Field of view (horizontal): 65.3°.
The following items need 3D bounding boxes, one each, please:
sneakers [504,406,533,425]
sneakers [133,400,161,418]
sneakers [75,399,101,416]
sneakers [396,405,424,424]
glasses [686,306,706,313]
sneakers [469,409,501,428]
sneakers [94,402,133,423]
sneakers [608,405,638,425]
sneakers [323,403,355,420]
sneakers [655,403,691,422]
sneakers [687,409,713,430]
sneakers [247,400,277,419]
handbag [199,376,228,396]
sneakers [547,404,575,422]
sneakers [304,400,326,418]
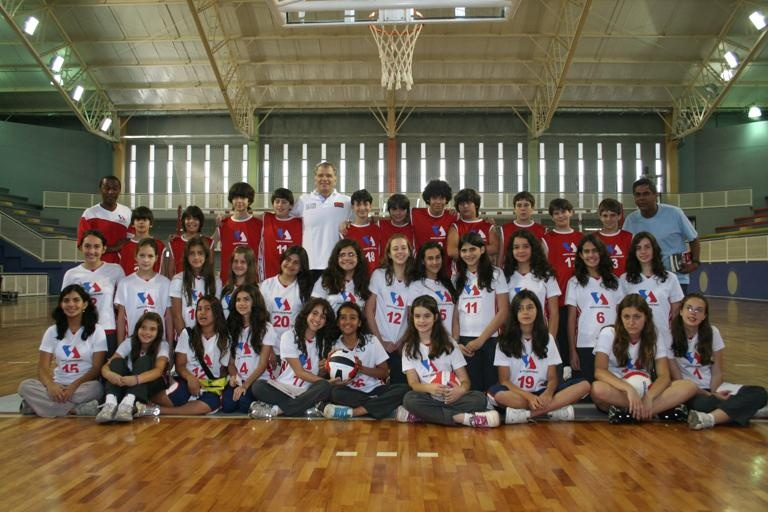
[{"bbox_3d":[1.337,1.574,5.948,0.302,0.123,0.127,0,0,-27],"label":"sneakers"},{"bbox_3d":[-2.422,1.556,6.142,0.246,0.174,0.145,-3,12,-12],"label":"sneakers"},{"bbox_3d":[-3.027,1.575,6.211,0.321,0.154,0.112,4,-5,-2],"label":"sneakers"},{"bbox_3d":[0.275,1.601,6.092,0.295,0.144,0.111,2,2,-1],"label":"sneakers"},{"bbox_3d":[3.187,0.539,6.104,0.095,0.026,0.094,1,-22,20],"label":"glasses"},{"bbox_3d":[1.005,1.586,5.935,0.350,0.137,0.164,-1,9,13],"label":"sneakers"},{"bbox_3d":[-2.643,1.545,5.958,0.385,0.147,0.166,-2,4,2],"label":"sneakers"},{"bbox_3d":[2.368,1.583,5.917,0.237,0.148,0.090,6,-8,0],"label":"sneakers"},{"bbox_3d":[-0.450,1.591,6.186,0.340,0.131,0.151,1,6,1],"label":"sneakers"},{"bbox_3d":[2.888,1.551,6.008,0.354,0.161,0.125,-6,5,-2],"label":"sneakers"},{"bbox_3d":[3.057,1.582,5.802,0.208,0.113,0.147,6,17,-23],"label":"sneakers"},{"bbox_3d":[-1.232,1.559,6.138,0.298,0.135,0.133,2,-2,-40],"label":"sneakers"},{"bbox_3d":[-1.795,1.371,6.321,0.270,0.155,0.116,-1,11,-4],"label":"handbag"},{"bbox_3d":[1.789,1.588,6.052,0.259,0.128,0.114,-3,4,1],"label":"sneakers"},{"bbox_3d":[-0.737,1.573,6.203,0.295,0.141,0.105,-3,33,-10],"label":"sneakers"}]
